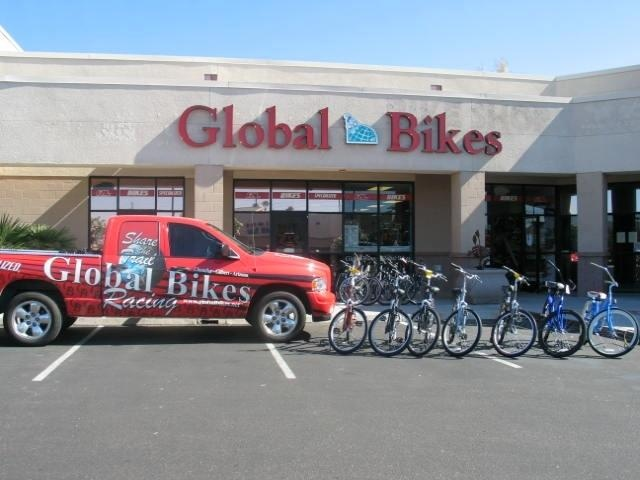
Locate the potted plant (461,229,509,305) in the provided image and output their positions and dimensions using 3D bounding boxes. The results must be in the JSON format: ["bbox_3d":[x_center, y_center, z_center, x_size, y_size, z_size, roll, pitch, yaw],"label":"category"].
[{"bbox_3d":[4.904,0.818,17.287,1.155,1.929,1.253,1,-2,10],"label":"potted plant"}]
